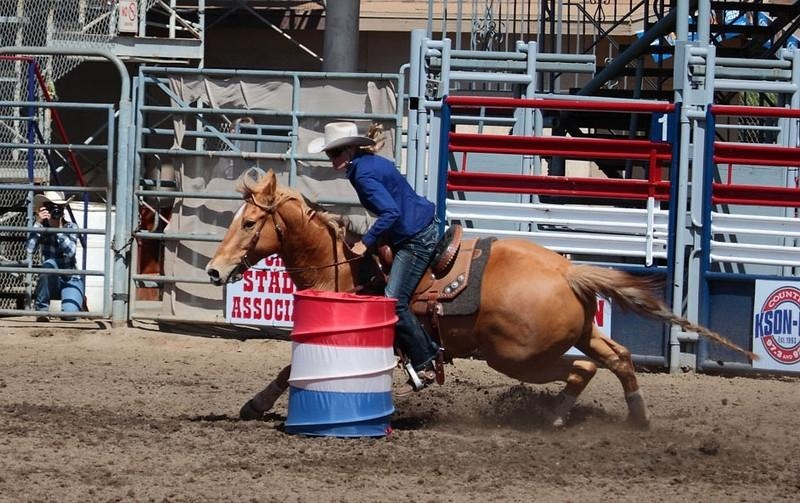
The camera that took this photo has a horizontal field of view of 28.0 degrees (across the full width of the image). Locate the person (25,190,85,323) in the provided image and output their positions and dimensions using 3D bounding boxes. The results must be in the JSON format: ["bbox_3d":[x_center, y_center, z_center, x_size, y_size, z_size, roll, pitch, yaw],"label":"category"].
[{"bbox_3d":[-5.527,0.132,26.000,0.901,2.017,1.262,0,3,-11],"label":"person"}]

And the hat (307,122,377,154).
[{"bbox_3d":[-0.696,-1.589,21.872,0.585,0.211,0.544,-5,-2,-41],"label":"hat"}]

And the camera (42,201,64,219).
[{"bbox_3d":[-5.538,-0.640,25.809,0.291,0.275,0.259,8,15,-16],"label":"camera"}]
